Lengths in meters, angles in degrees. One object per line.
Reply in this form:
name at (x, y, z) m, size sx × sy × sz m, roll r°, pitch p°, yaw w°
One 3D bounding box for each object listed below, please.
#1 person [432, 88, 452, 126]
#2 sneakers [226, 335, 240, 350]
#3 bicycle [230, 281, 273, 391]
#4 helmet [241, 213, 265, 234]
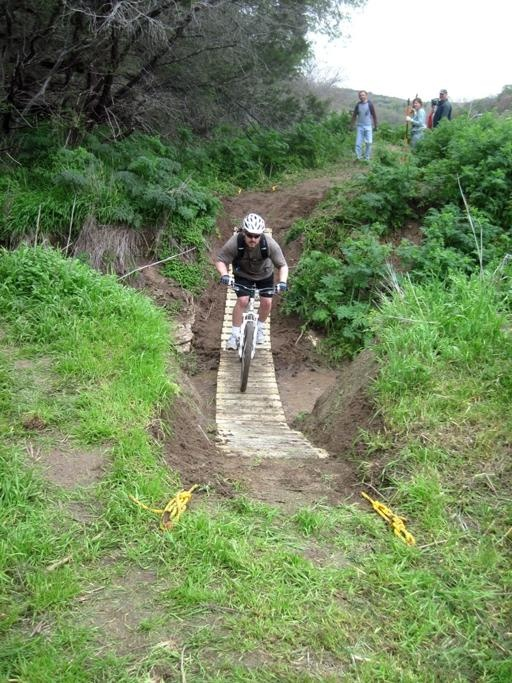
person at (3.859, -4.800, 12.625) m, size 0.321 × 0.591 × 1.018 m, roll 8°, pitch 4°, yaw 12°
sneakers at (-0.325, -0.015, 8.335) m, size 0.113 × 0.139 × 0.314 m, roll 2°, pitch 22°, yaw 2°
bicycle at (-0.238, -0.110, 7.842) m, size 0.555 × 0.725 × 1.223 m, roll 9°, pitch 28°, yaw -8°
helmet at (-0.031, -1.343, 7.011) m, size 0.225 × 0.243 × 0.263 m, roll 6°, pitch 4°, yaw -8°
